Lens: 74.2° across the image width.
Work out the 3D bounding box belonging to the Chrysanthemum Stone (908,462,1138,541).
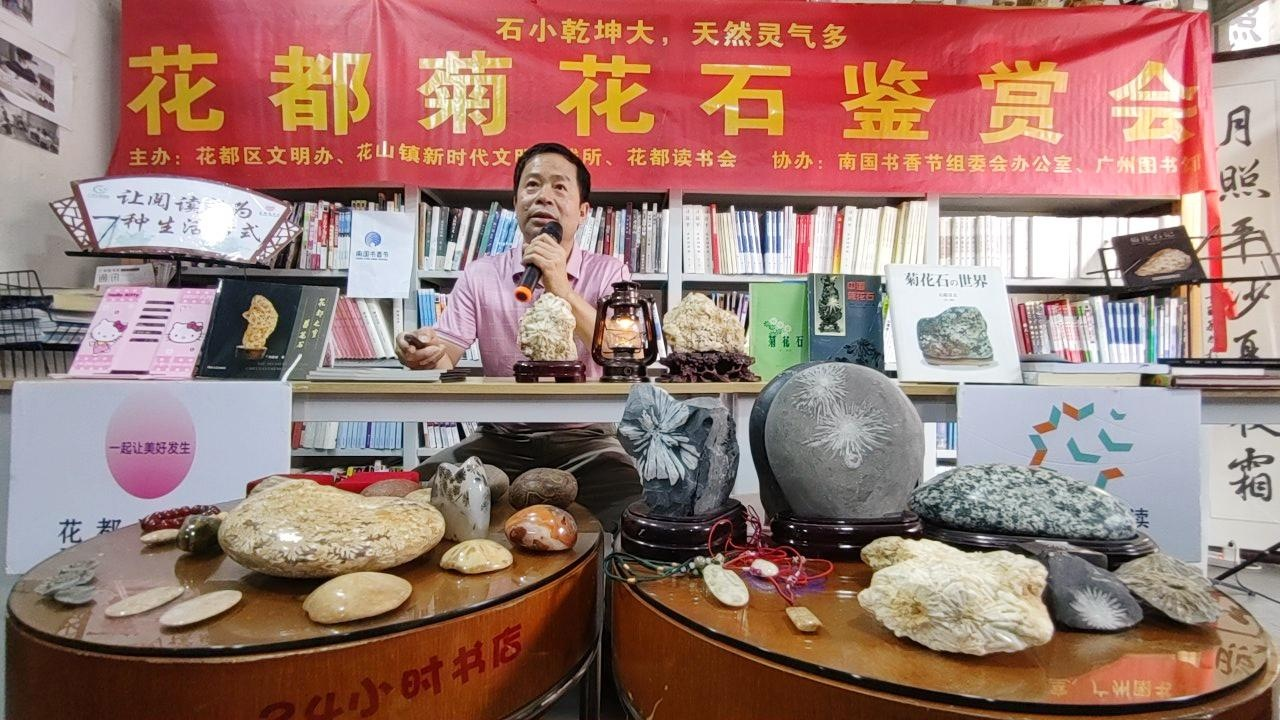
[{"bbox_3d":[1.426,0.470,3.096,0.539,0.134,0.351,-1,0,12],"label":"Chrysanthemum Stone"}]

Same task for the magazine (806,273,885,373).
[{"bbox_3d":[0.966,-0.170,3.990,0.508,0.606,0.067,1,-4,-5],"label":"magazine"}]

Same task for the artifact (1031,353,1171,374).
[{"bbox_3d":[2.125,0.018,3.977,0.616,0.091,0.213,0,-1,11],"label":"artifact"}]

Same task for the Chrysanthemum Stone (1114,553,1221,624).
[{"bbox_3d":[1.822,0.750,2.942,0.289,0.289,0.075,2,30,43],"label":"Chrysanthemum Stone"}]

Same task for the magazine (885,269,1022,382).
[{"bbox_3d":[1.500,-0.180,4.034,0.588,0.571,0.214,0,-1,-4],"label":"magazine"}]

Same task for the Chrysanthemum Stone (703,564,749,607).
[{"bbox_3d":[0.300,0.784,2.946,0.156,0.136,0.067,0,-1,6],"label":"Chrysanthemum Stone"}]

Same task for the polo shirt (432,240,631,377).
[{"bbox_3d":[-0.545,-0.257,4.321,0.849,0.604,0.258,-1,-11,1],"label":"polo shirt"}]

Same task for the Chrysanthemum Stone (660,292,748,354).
[{"bbox_3d":[0.297,-0.171,3.941,0.373,0.285,0.124,0,-1,1],"label":"Chrysanthemum Stone"}]

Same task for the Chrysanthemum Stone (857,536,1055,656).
[{"bbox_3d":[1.087,0.809,2.926,0.665,0.200,0.461,10,46,33],"label":"Chrysanthemum Stone"}]
